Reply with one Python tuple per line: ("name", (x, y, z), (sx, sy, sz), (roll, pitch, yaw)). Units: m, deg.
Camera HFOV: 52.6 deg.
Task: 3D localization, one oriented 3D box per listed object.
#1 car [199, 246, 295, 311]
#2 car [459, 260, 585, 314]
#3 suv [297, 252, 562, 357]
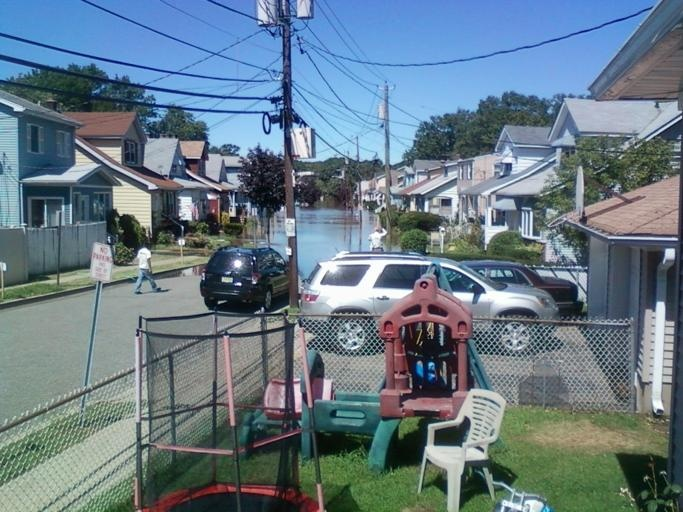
("car", (-2.684, 0.539, 20.606), (1.415, 1.368, 2.786), (0, 8, 16))
("car", (4.840, 0.984, 18.044), (3.107, 1.332, 1.466), (0, 5, 5))
("suv", (1.597, 1.049, 14.624), (5.163, 2.171, 2.777), (-1, 5, 5))
